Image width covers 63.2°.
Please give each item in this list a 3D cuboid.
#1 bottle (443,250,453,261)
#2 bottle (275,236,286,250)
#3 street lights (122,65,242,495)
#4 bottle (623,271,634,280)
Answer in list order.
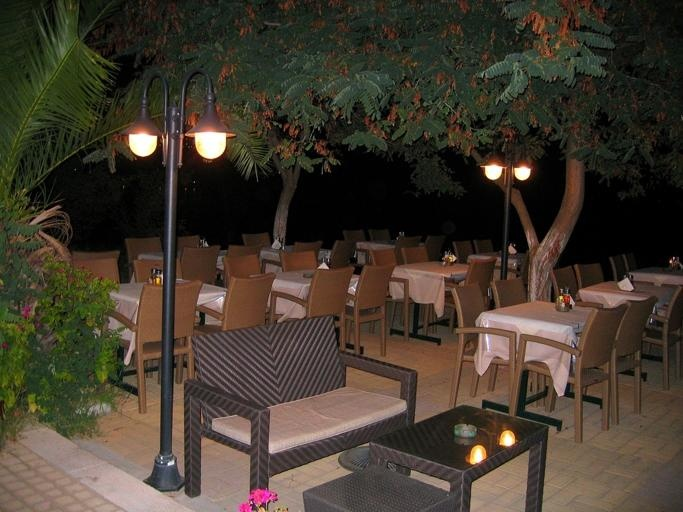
[{"bbox_3d":[1.799,-0.001,9.502,0.211,0.102,0.161,7,9,42],"label":"bottle"},{"bbox_3d":[-1.220,-0.261,10.884,0.221,0.285,0.230,1,-1,0],"label":"bottle"},{"bbox_3d":[-1.169,0.171,3.972,0.831,3.052,0.405,1,1,31],"label":"street lights"},{"bbox_3d":[4.532,0.315,8.781,0.161,0.068,0.119,-7,10,-36],"label":"bottle"}]
